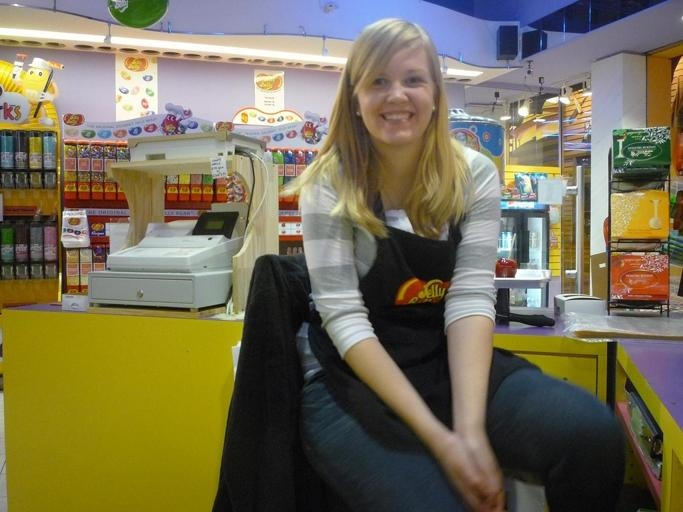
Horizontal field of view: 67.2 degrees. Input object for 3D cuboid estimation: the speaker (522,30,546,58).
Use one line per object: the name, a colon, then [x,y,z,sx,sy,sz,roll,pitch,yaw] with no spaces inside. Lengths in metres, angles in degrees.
speaker: [2.695,-2.991,7.180,0.279,0.552,0.287,3,10,31]

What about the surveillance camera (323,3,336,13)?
surveillance camera: [-0.166,-3.211,6.630,0.105,0.045,0.120,3,-24,-7]

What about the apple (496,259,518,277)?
apple: [0.814,0.042,2.543,0.110,0.101,0.105,2,7,10]
